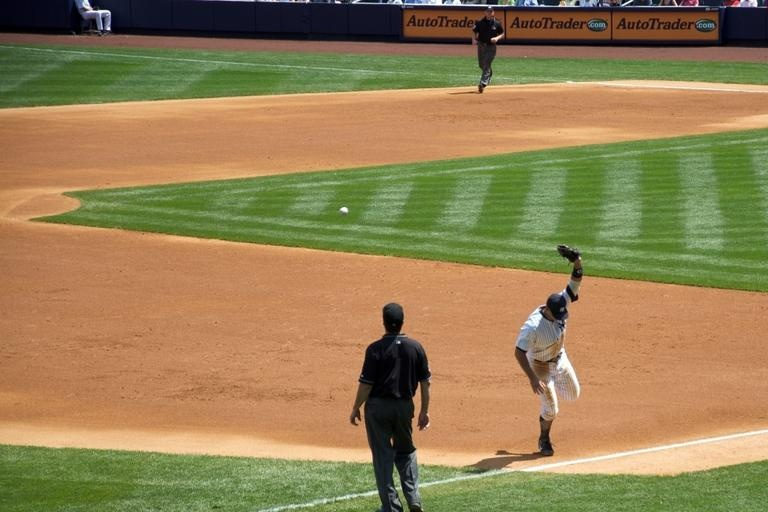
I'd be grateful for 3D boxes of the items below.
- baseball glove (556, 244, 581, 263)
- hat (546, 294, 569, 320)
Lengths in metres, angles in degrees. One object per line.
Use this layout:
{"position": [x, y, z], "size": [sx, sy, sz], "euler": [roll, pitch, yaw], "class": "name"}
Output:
{"position": [4.294, -0.123, 39.669], "size": [0.554, 0.224, 0.403], "euler": [4, 6, 33], "class": "baseball glove"}
{"position": [4.095, 1.144, 39.638], "size": [0.475, 0.604, 0.341], "euler": [-14, -34, -3], "class": "hat"}
